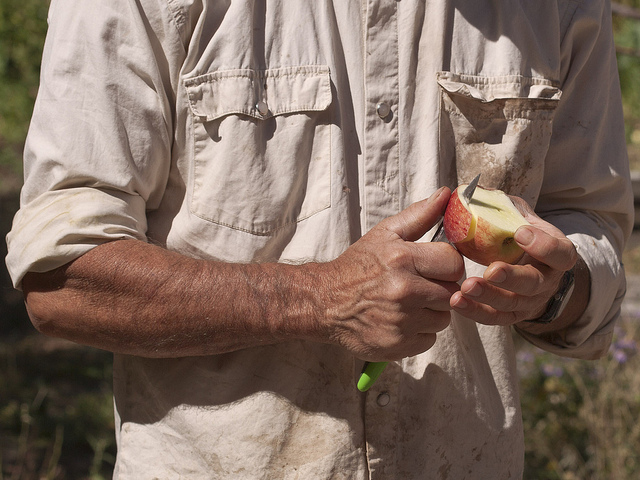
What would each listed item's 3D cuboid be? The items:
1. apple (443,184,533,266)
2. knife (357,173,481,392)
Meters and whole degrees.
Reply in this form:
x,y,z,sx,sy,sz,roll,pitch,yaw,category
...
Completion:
x,y,z,sx,sy,sz,roll,pitch,yaw,category
0.459,-0.006,2.515,0.145,0.237,0.222,-36,39,23,apple
0.265,0.114,2.501,0.082,0.722,0.073,28,12,-16,knife
